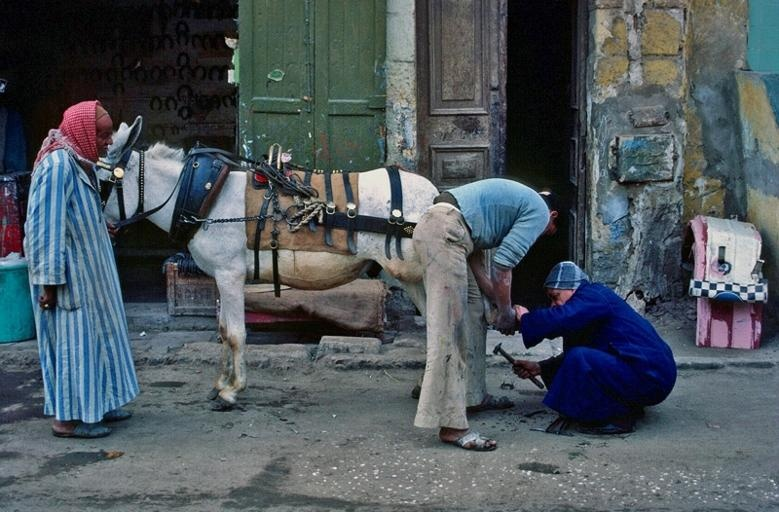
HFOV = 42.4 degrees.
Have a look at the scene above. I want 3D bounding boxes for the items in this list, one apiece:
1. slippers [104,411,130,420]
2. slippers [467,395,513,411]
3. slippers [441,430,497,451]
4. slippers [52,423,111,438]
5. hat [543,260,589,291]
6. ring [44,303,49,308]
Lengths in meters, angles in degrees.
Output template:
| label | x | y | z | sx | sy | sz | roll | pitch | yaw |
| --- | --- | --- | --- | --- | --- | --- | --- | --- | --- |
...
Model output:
| label | x | y | z | sx | sy | sz | roll | pitch | yaw |
| --- | --- | --- | --- | --- | --- | --- | --- | --- | --- |
| slippers | -2.388 | 1.401 | 8.811 | 0.228 | 0.079 | 0.082 | -2 | 7 | -15 |
| slippers | 0.934 | 1.314 | 9.078 | 0.471 | 0.173 | 0.151 | 0 | -4 | -17 |
| slippers | 0.671 | 1.513 | 8.368 | 0.363 | 0.087 | 0.184 | 0 | 9 | 19 |
| slippers | -2.630 | 1.464 | 8.525 | 0.426 | 0.100 | 0.167 | 0 | 3 | -2 |
| hat | 1.512 | 0.176 | 8.639 | 0.347 | 0.192 | 0.233 | 5 | -2 | -2 |
| ring | -2.857 | 0.411 | 8.378 | 0.041 | 0.032 | 0.057 | 5 | 5 | -2 |
